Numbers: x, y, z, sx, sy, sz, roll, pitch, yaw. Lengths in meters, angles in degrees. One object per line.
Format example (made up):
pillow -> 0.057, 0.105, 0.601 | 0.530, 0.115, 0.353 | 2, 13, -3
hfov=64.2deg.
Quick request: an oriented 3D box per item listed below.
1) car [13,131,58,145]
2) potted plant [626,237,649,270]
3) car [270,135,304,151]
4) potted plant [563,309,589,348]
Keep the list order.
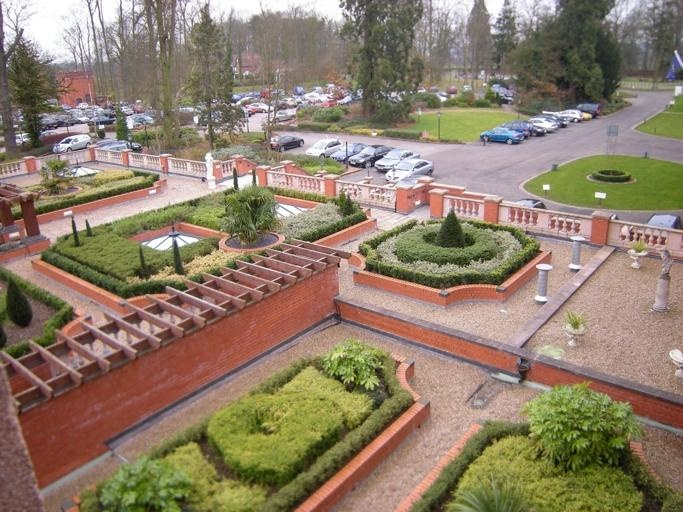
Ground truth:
car -> -27.704, -10.857, 49.018 | 2.781, 0.962, 6.907 | -14, 23, -27
potted plant -> 10.003, -0.064, 18.430 | 0.624, 0.947, 0.637 | -14, 28, -17
car -> -4.937, -9.644, 47.090 | 1.093, 1.202, 3.987 | 8, 23, 29
potted plant -> 6.275, 1.882, 14.684 | 0.514, 0.773, 0.956 | 8, 23, 31
